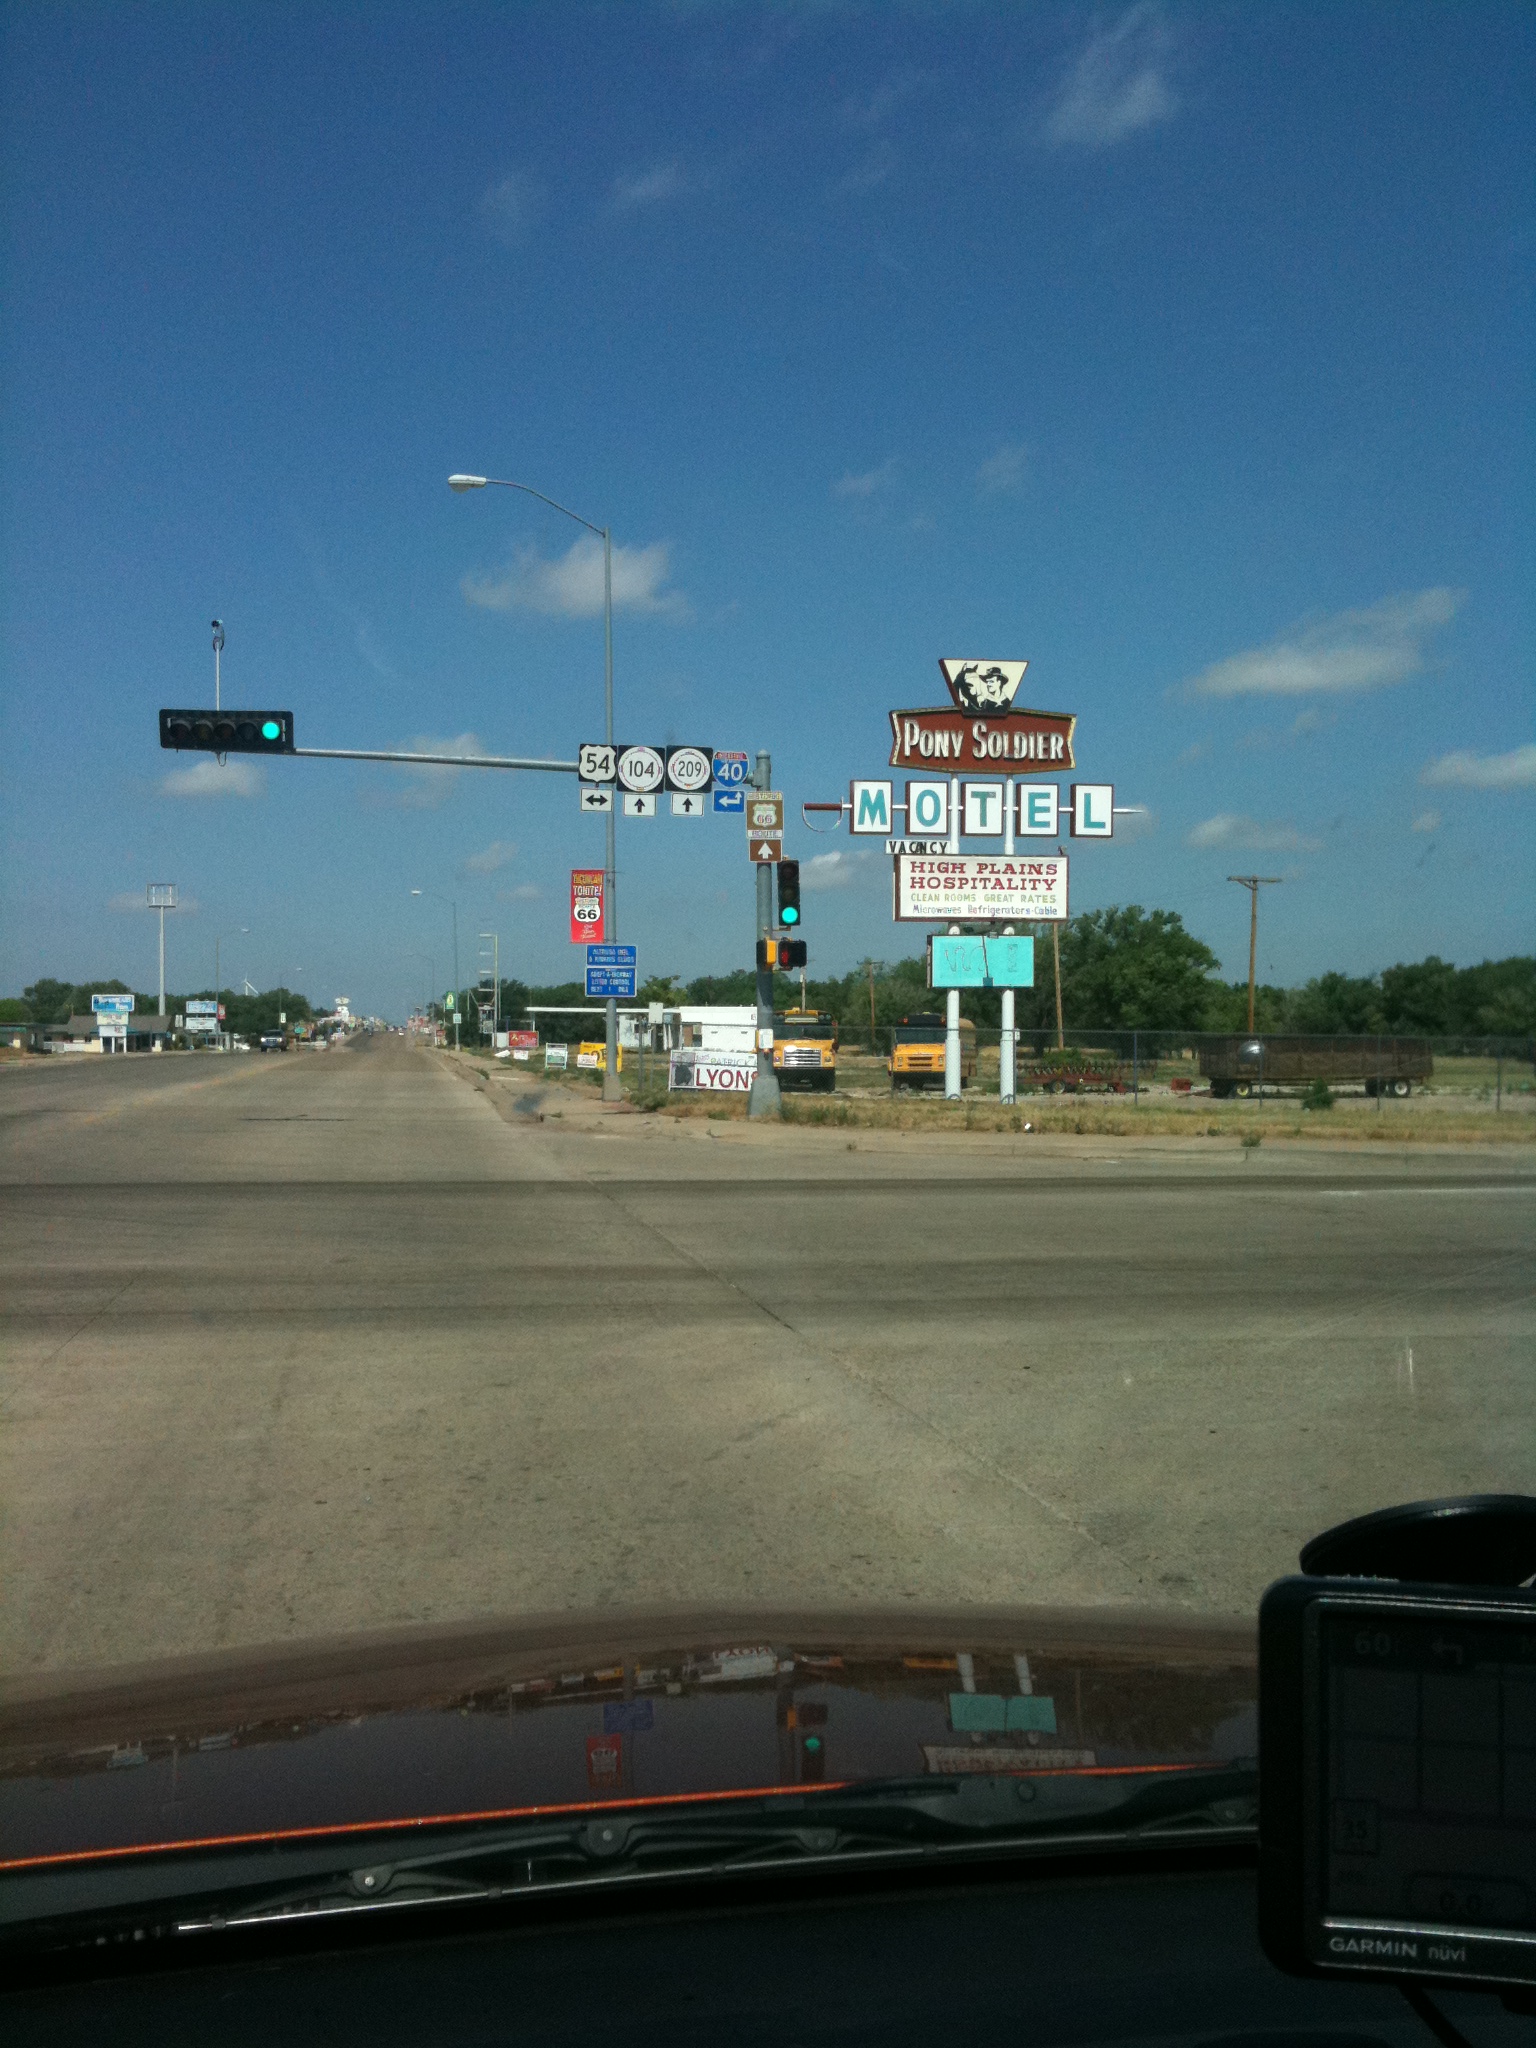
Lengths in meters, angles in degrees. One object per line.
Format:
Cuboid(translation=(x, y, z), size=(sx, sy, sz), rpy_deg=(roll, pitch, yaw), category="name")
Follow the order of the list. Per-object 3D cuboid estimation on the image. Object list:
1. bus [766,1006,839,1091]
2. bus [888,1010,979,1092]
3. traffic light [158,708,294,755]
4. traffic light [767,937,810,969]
Cuboid(translation=(0.811, 0.683, 53.559), size=(1.358, 1.694, 8.597), rpy_deg=(0, 0, 1), category="bus")
Cuboid(translation=(3.866, 0.762, 54.043), size=(1.442, 1.561, 2.583), rpy_deg=(0, -3, 0), category="bus")
Cuboid(translation=(-6.585, -3.562, 27.733), size=(1.480, 0.422, 0.395), rpy_deg=(0, 0, -17), category="traffic light")
Cuboid(translation=(0.257, -0.999, 32.921), size=(0.524, 0.402, 1.046), rpy_deg=(0, 0, 5), category="traffic light")
